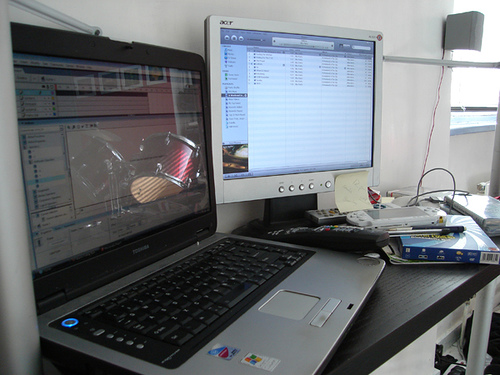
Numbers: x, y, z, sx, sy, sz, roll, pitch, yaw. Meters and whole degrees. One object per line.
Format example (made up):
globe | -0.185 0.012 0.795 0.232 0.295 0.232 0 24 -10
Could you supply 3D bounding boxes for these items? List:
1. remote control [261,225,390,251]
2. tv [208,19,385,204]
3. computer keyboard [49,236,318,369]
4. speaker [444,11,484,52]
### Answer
remote control | 0.158 0.118 0.757 0.065 0.069 0.298 -6 1 -43
tv | 0.109 -0.199 0.894 0.526 0.433 0.040 -5 8 -22
computer keyboard | -0.077 0.158 0.590 0.233 0.021 0.403 7 19 32
speaker | 1.039 -0.735 1.635 0.196 0.166 0.111 -8 17 -16
